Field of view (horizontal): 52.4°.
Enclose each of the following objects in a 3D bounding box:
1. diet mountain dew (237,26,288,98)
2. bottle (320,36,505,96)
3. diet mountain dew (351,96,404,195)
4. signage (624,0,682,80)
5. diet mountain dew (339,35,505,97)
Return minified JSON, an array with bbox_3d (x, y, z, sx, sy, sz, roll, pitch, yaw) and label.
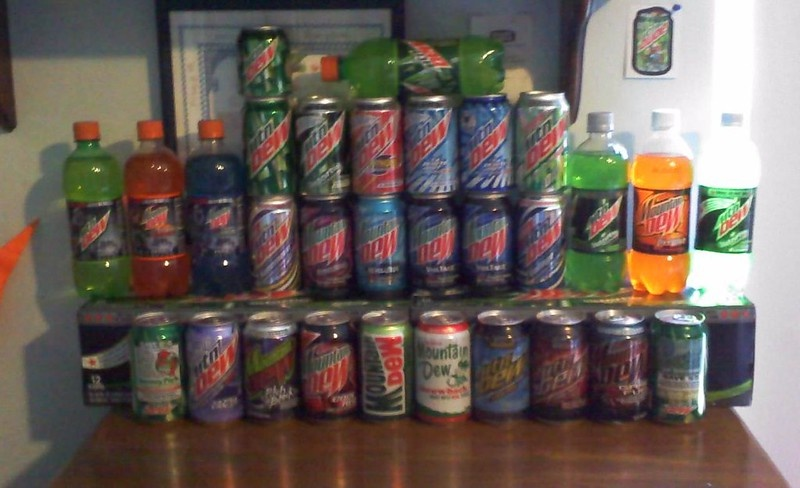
[{"bbox_3d":[-0.368,-0.485,2.182,0.138,0.185,0.053,-6,16,-8],"label":"diet mountain dew"},{"bbox_3d":[0.019,-0.472,2.245,0.514,0.129,0.152,-4,8,-19],"label":"bottle"},{"bbox_3d":[-0.062,-0.259,2.185,0.141,0.257,0.074,-4,16,2],"label":"diet mountain dew"},{"bbox_3d":[0.714,-0.565,2.290,0.149,0.202,0.052,-1,17,11],"label":"signage"},{"bbox_3d":[0.073,-0.491,2.238,0.518,0.148,0.165,1,22,1],"label":"diet mountain dew"}]
